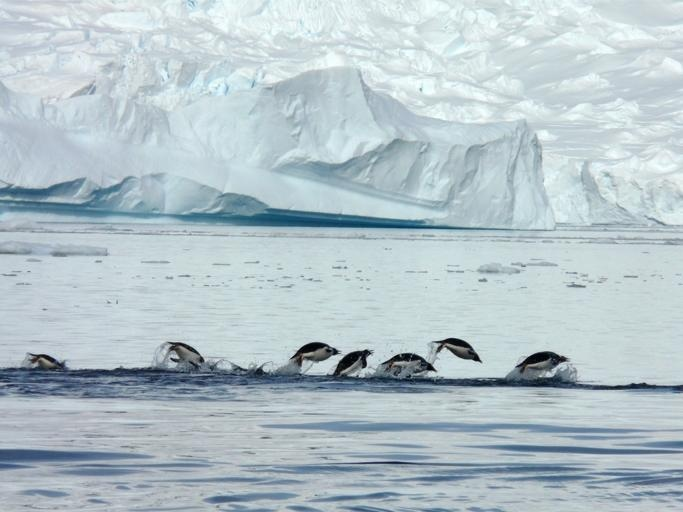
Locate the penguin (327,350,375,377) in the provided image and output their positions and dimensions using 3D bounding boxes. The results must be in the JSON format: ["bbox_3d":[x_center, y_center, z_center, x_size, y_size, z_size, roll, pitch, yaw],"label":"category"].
[{"bbox_3d":[0.198,2.248,28.356,0.928,0.558,0.618,-2,14,-24],"label":"penguin"}]

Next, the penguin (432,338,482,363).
[{"bbox_3d":[2.547,2.036,29.121,1.005,0.566,0.848,4,12,5],"label":"penguin"}]

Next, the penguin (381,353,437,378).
[{"bbox_3d":[1.350,2.298,28.188,0.949,0.249,0.598,2,-1,0],"label":"penguin"}]

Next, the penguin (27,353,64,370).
[{"bbox_3d":[-6.149,2.199,27.987,0.619,0.143,0.385,2,-1,21],"label":"penguin"}]

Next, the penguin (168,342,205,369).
[{"bbox_3d":[-3.298,2.069,28.503,0.809,0.474,0.678,2,12,-6],"label":"penguin"}]

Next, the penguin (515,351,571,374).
[{"bbox_3d":[4.133,2.224,28.178,0.876,0.214,0.503,-3,2,-5],"label":"penguin"}]
